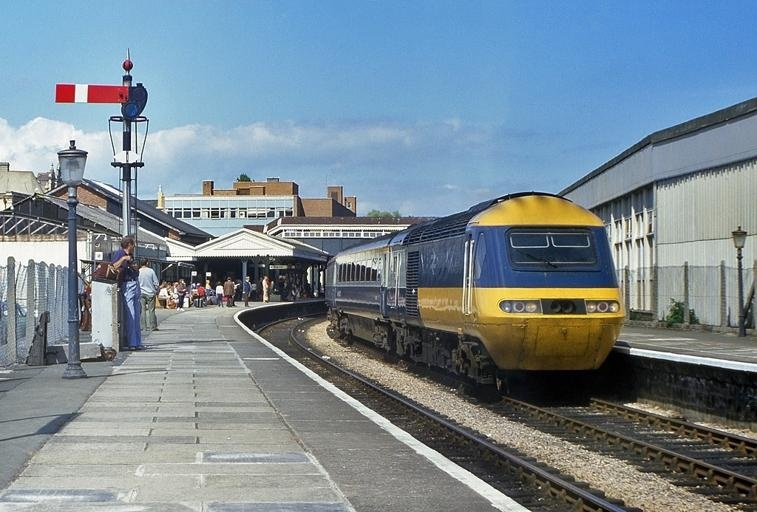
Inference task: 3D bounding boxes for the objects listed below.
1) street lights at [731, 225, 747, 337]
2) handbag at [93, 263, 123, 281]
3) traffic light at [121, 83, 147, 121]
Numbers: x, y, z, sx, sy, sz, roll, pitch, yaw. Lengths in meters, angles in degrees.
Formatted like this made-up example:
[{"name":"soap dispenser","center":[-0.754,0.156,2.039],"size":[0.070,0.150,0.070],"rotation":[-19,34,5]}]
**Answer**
[{"name":"street lights","center":[13.269,0.706,24.169],"size":[0.659,3.626,0.701],"rotation":[-2,7,30]},{"name":"handbag","center":[-6.863,0.399,16.633],"size":[0.414,0.248,0.538],"rotation":[0,-2,39]},{"name":"traffic light","center":[-8.412,-5.359,22.643],"size":[0.701,1.153,0.726],"rotation":[5,-3,-22]}]
